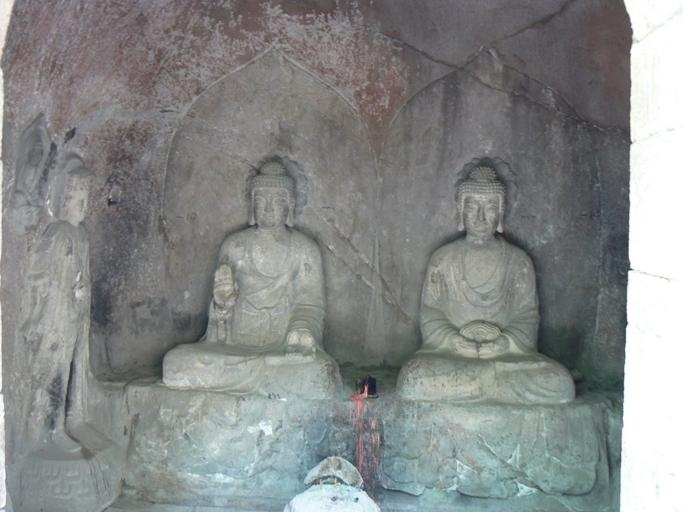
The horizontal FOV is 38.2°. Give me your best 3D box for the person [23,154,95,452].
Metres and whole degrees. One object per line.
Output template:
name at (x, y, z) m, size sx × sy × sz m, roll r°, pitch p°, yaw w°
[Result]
person at (-2.281, 0.364, 7.987) m, size 0.264 × 2.370 × 0.926 m, roll -3°, pitch -13°, yaw 18°
